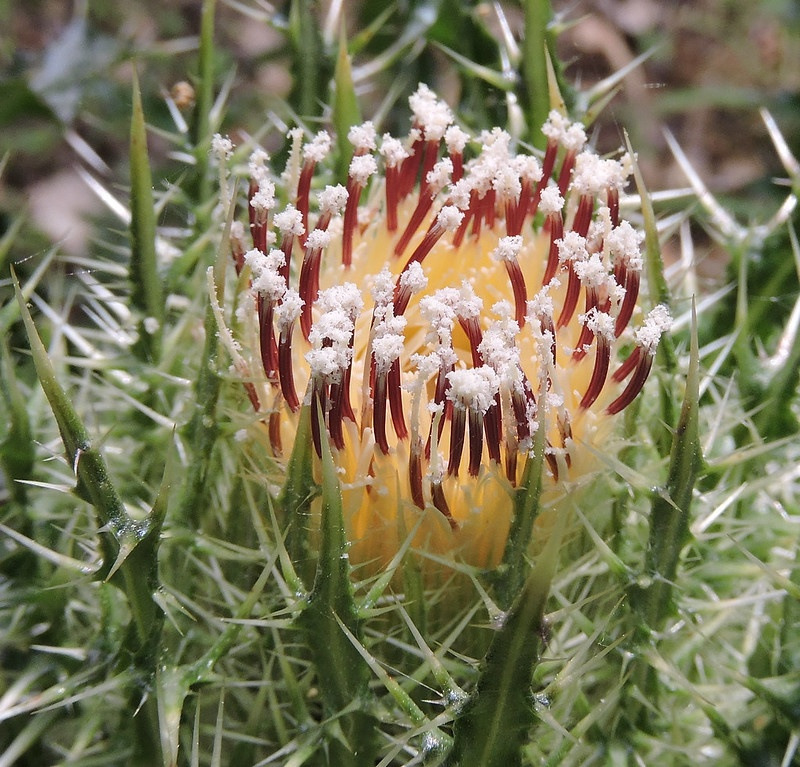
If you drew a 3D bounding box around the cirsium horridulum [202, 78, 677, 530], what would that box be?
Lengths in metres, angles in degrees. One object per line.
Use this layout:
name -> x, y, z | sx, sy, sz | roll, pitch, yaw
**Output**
cirsium horridulum -> 0.071, -0.114, 1.720 | 0.649, 0.431, 0.738 | 5, 49, -11
